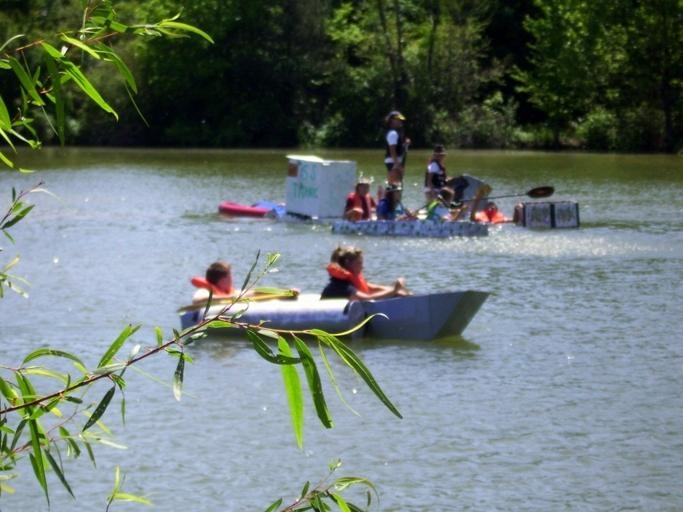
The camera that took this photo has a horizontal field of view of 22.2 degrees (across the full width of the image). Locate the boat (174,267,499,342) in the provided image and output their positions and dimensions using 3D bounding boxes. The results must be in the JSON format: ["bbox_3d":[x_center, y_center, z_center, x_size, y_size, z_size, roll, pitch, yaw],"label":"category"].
[{"bbox_3d":[0.203,1.425,38.637,6.370,1.219,3.400,-7,16,-39],"label":"boat"}]

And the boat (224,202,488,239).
[{"bbox_3d":[0.359,-0.928,46.188,7.013,0.635,1.679,8,11,27],"label":"boat"}]
